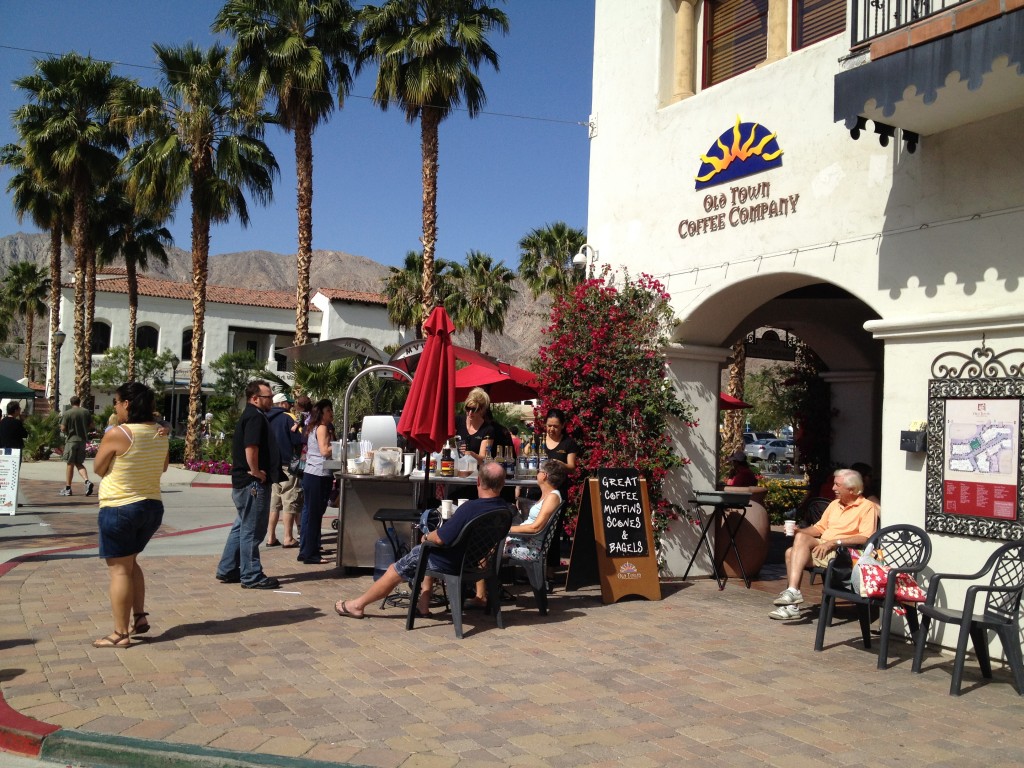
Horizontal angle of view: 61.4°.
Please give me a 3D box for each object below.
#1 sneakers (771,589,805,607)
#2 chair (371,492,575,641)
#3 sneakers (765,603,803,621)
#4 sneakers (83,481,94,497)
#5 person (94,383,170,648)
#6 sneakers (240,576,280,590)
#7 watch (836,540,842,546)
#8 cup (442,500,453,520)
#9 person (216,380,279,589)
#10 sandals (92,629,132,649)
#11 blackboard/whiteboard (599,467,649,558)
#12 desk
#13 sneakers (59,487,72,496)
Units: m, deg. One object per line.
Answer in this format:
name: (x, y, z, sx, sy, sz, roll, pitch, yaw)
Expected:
sneakers: (3.064, 2.372, 9.605, 0.407, 0.205, 0.154, -3, -7, 33)
chair: (-0.405, 1.806, 9.327, 1.402, 2.017, 1.252, 5, 4, 43)
sneakers: (3.049, 2.503, 9.570, 0.414, 0.197, 0.186, 3, -6, -17)
sneakers: (-9.278, 2.301, 18.931, 0.128, 0.377, 0.240, 9, 13, -37)
person: (-3.421, 1.148, 7.706, 0.582, 1.675, 0.338, 4, -3, -26)
sneakers: (-2.875, 2.276, 9.917, 0.337, 0.157, 0.177, 0, -1, -20)
watch: (3.475, 1.691, 9.184, 0.022, 0.062, 0.039, 8, -7, -40)
cup: (-0.696, 1.340, 9.263, 0.143, 0.169, 0.150, 1, -5, 0)
person: (-2.952, 1.156, 9.875, 0.535, 2.329, 0.877, 4, -3, -26)
sandals: (-3.502, 2.233, 7.551, 0.258, 0.115, 0.154, 3, -10, -1)
blackboard/whiteboard: (1.370, 1.569, 10.520, 0.668, 1.037, 0.194, 4, -3, -24)
desk: (2.975, 2.029, 11.886, 0.925, 1.746, 1.192, 5, -8, -31)
sneakers: (-9.449, 2.287, 18.343, 0.122, 0.158, 0.340, 1, 0, -30)
